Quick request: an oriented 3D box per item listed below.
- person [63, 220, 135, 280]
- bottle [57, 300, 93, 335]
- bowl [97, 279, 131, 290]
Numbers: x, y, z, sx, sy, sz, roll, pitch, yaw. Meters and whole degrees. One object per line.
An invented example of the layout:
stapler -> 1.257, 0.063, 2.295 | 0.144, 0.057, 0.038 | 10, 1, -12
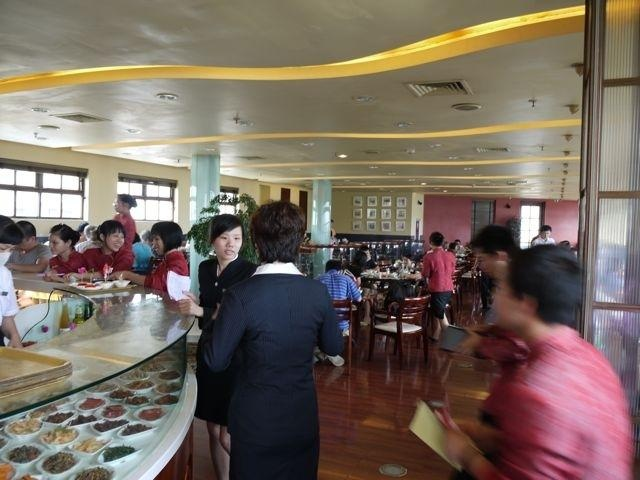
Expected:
person -> -1.889, 0.196, 3.906 | 0.529, 0.694, 0.398 | 2, -5, -9
bottle -> -1.796, 0.563, 3.256 | 0.121, 0.292, 0.480 | -1, 3, -42
bowl -> -1.509, 0.323, 3.258 | 0.190, 0.054, 0.293 | 1, 2, 2
